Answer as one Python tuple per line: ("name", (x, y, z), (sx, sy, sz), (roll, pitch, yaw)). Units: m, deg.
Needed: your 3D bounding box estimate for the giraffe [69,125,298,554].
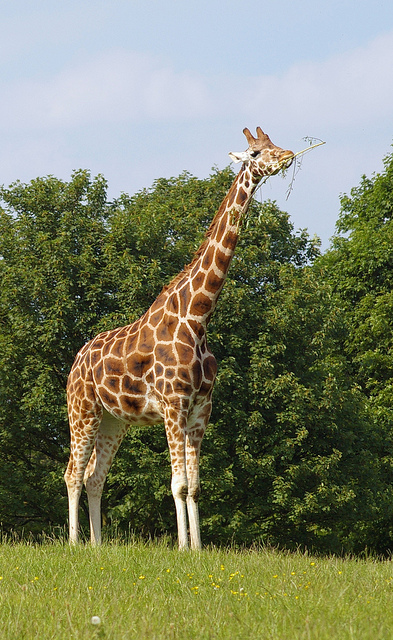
("giraffe", (-0.388, 0.268, 11.268), (1.155, 4.056, 3.016), (4, -6, -26))
